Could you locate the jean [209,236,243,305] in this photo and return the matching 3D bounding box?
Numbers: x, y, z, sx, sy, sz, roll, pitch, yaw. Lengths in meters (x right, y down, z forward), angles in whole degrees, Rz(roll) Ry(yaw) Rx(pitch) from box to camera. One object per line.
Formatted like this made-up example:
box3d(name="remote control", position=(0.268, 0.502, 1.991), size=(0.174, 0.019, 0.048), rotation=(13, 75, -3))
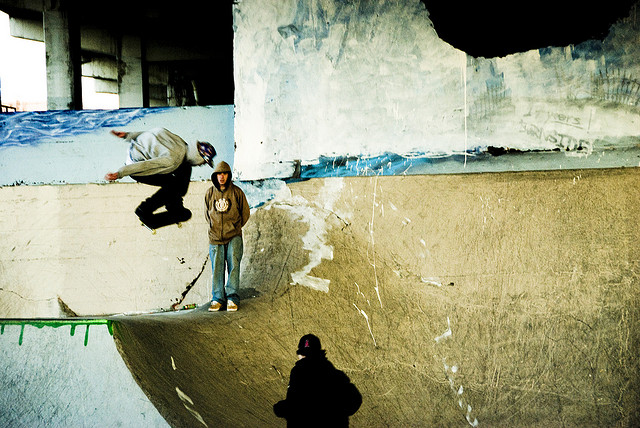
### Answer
box3d(name="jean", position=(-1.525, 0.919, 11.876), size=(0.489, 1.118, 0.379), rotation=(1, 7, 13))
